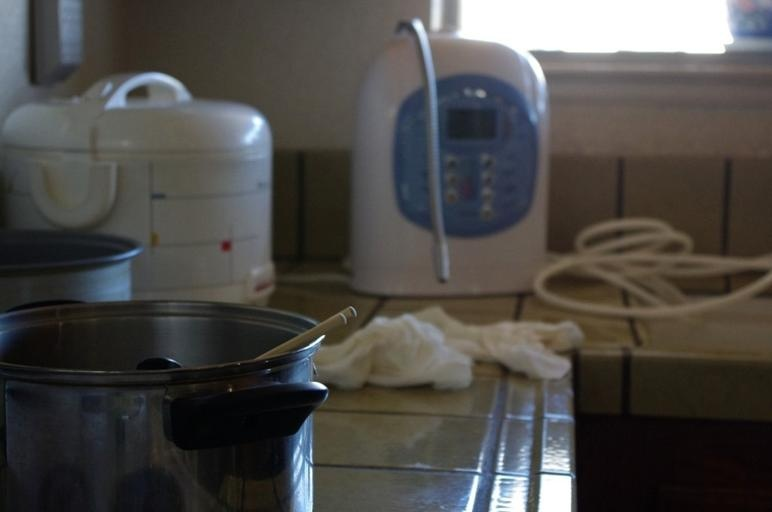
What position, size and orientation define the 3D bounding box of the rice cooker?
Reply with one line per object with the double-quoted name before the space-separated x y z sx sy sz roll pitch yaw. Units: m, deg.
"rice cooker" -0.180 -0.058 0.672 0.186 0.173 0.179 2 8 9
